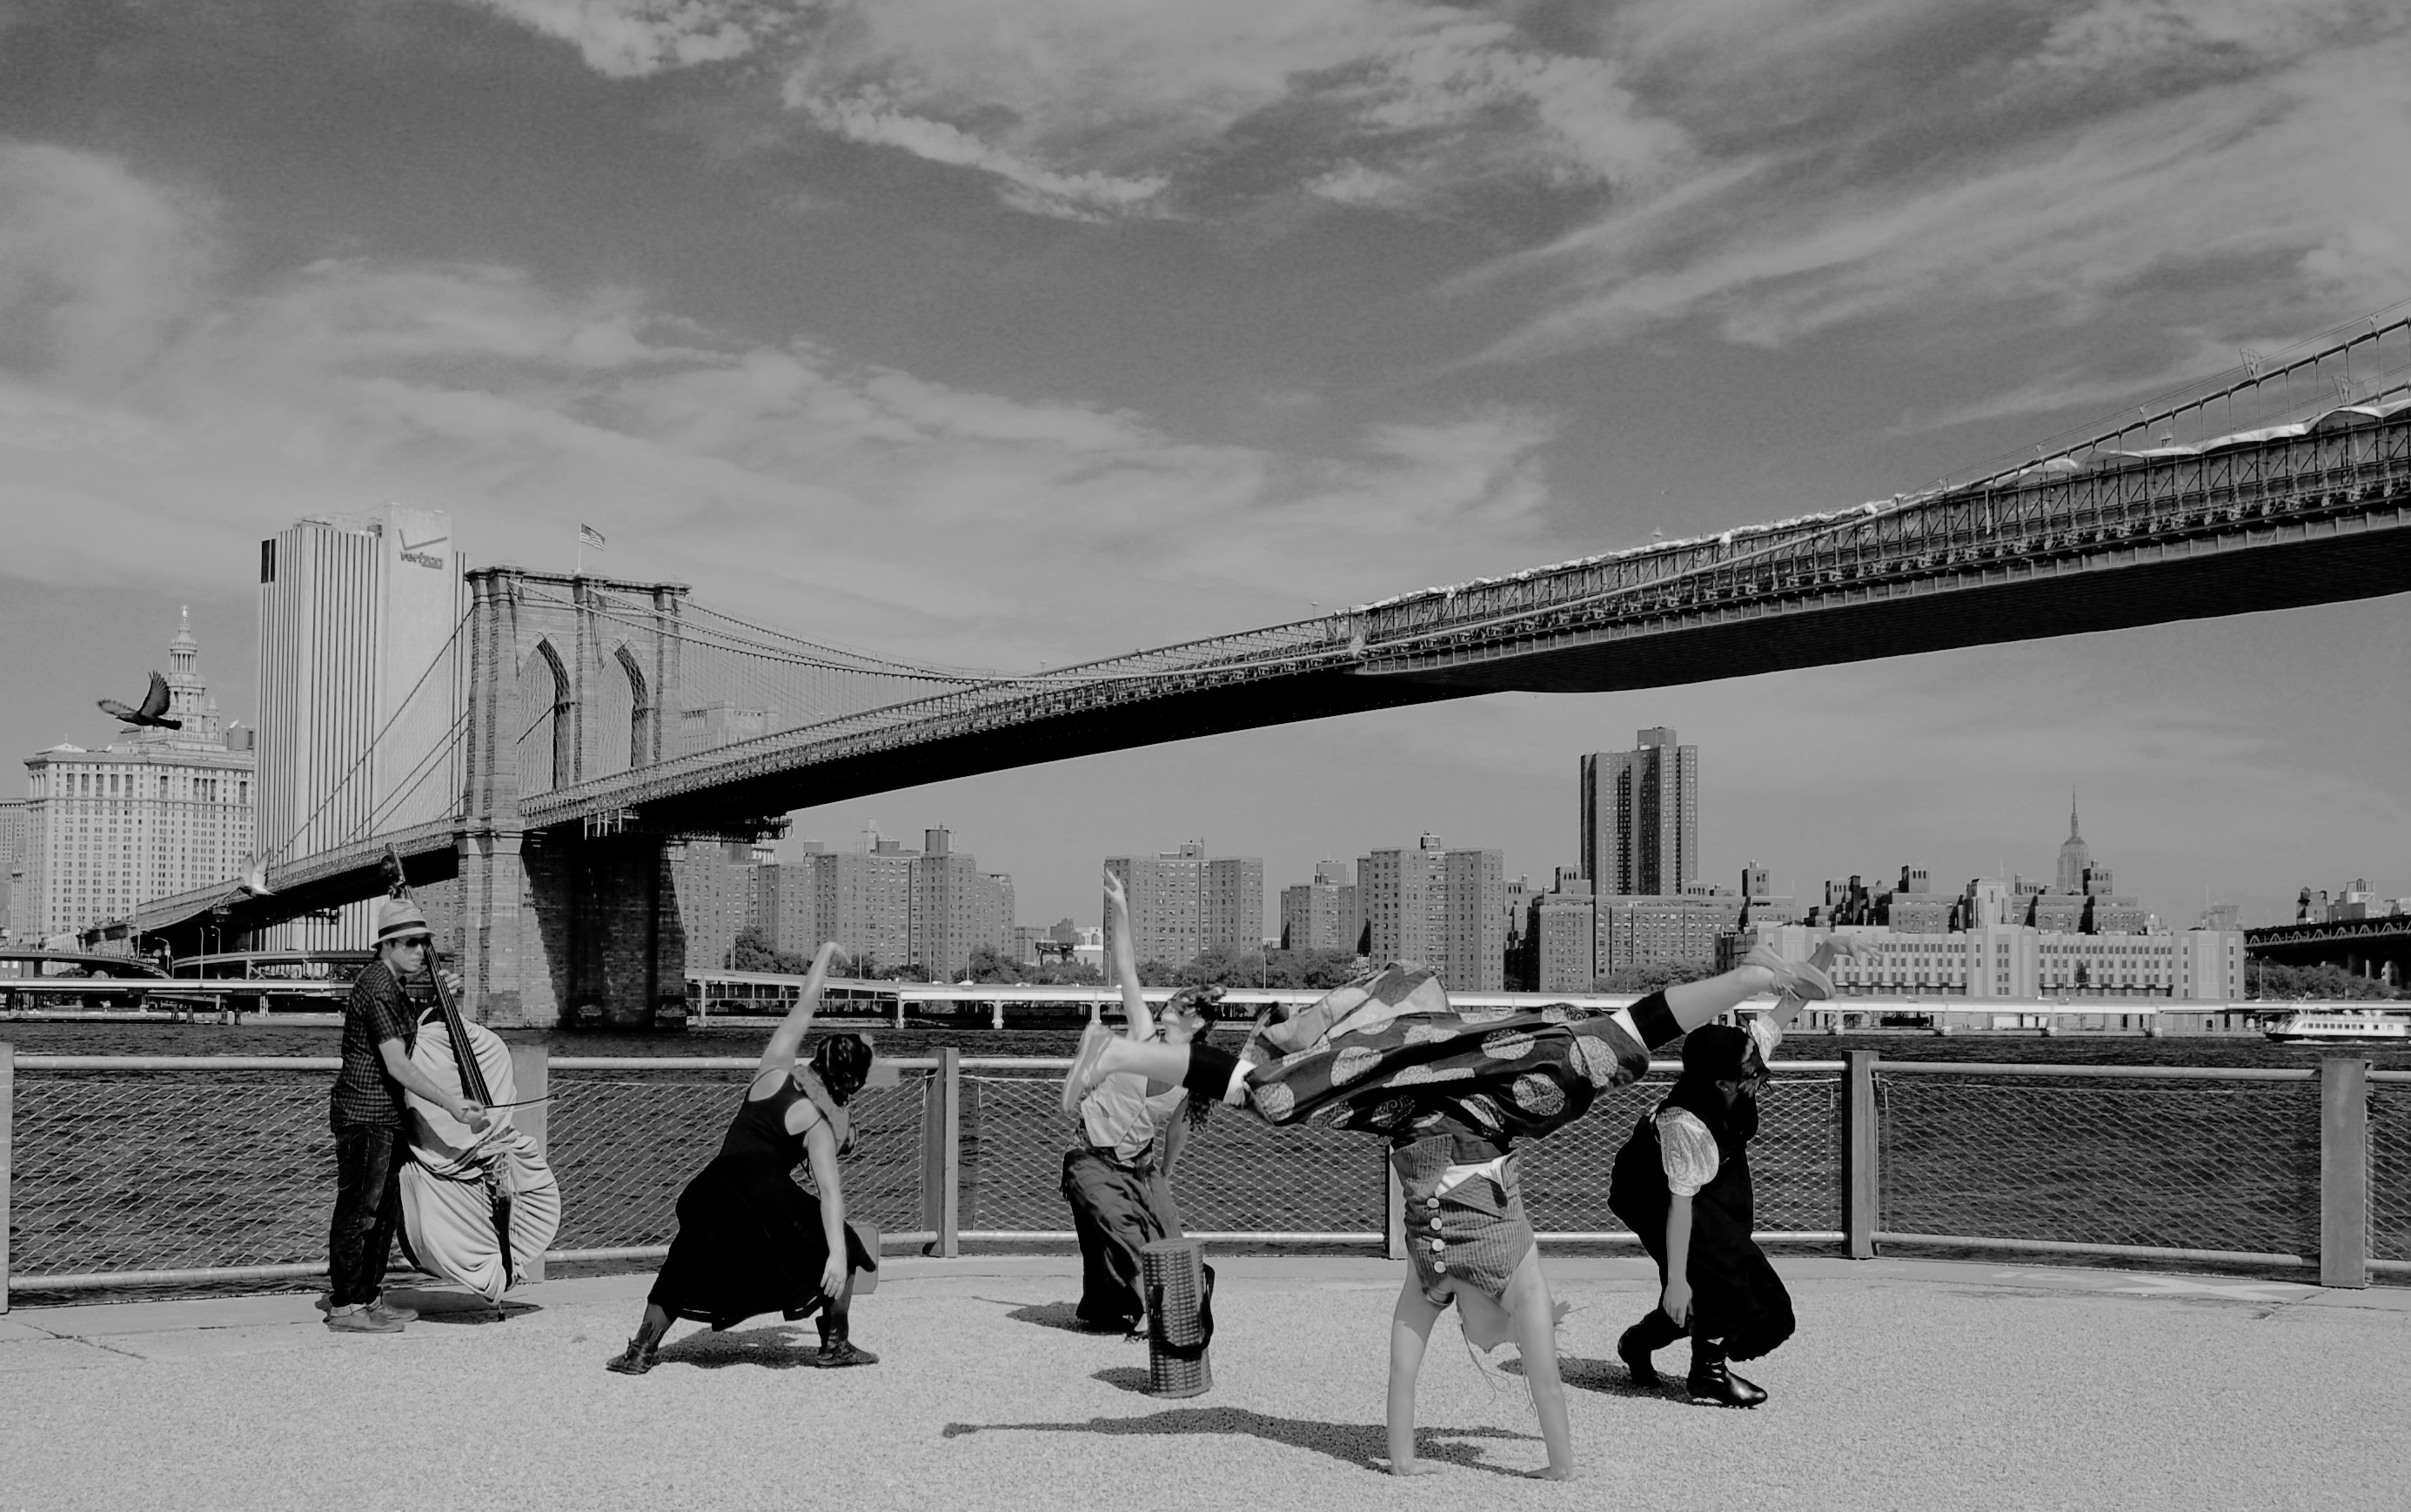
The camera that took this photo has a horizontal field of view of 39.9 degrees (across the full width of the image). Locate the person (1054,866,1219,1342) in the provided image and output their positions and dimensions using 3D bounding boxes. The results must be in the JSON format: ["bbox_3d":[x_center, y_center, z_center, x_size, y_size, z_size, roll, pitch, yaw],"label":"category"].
[{"bbox_3d":[-0.409,1.913,17.510,0.908,2.318,0.864,-1,0,-6],"label":"person"}]

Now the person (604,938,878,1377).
[{"bbox_3d":[-2.279,2.169,17.026,1.086,1.959,0.429,1,-4,9],"label":"person"}]

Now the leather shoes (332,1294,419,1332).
[{"bbox_3d":[-4.369,2.945,17.506,0.440,0.161,0.152,3,3,-7],"label":"leather shoes"}]

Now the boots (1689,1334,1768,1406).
[{"bbox_3d":[2.536,3.104,16.582,0.552,0.364,0.199,0,-3,-8],"label":"boots"}]

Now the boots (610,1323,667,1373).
[{"bbox_3d":[-2.921,3.012,16.973,0.264,0.258,0.346,2,-4,-9],"label":"boots"}]

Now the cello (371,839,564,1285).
[{"bbox_3d":[-3.990,1.900,17.942,0.943,2.158,0.958,-9,3,44],"label":"cello"}]
